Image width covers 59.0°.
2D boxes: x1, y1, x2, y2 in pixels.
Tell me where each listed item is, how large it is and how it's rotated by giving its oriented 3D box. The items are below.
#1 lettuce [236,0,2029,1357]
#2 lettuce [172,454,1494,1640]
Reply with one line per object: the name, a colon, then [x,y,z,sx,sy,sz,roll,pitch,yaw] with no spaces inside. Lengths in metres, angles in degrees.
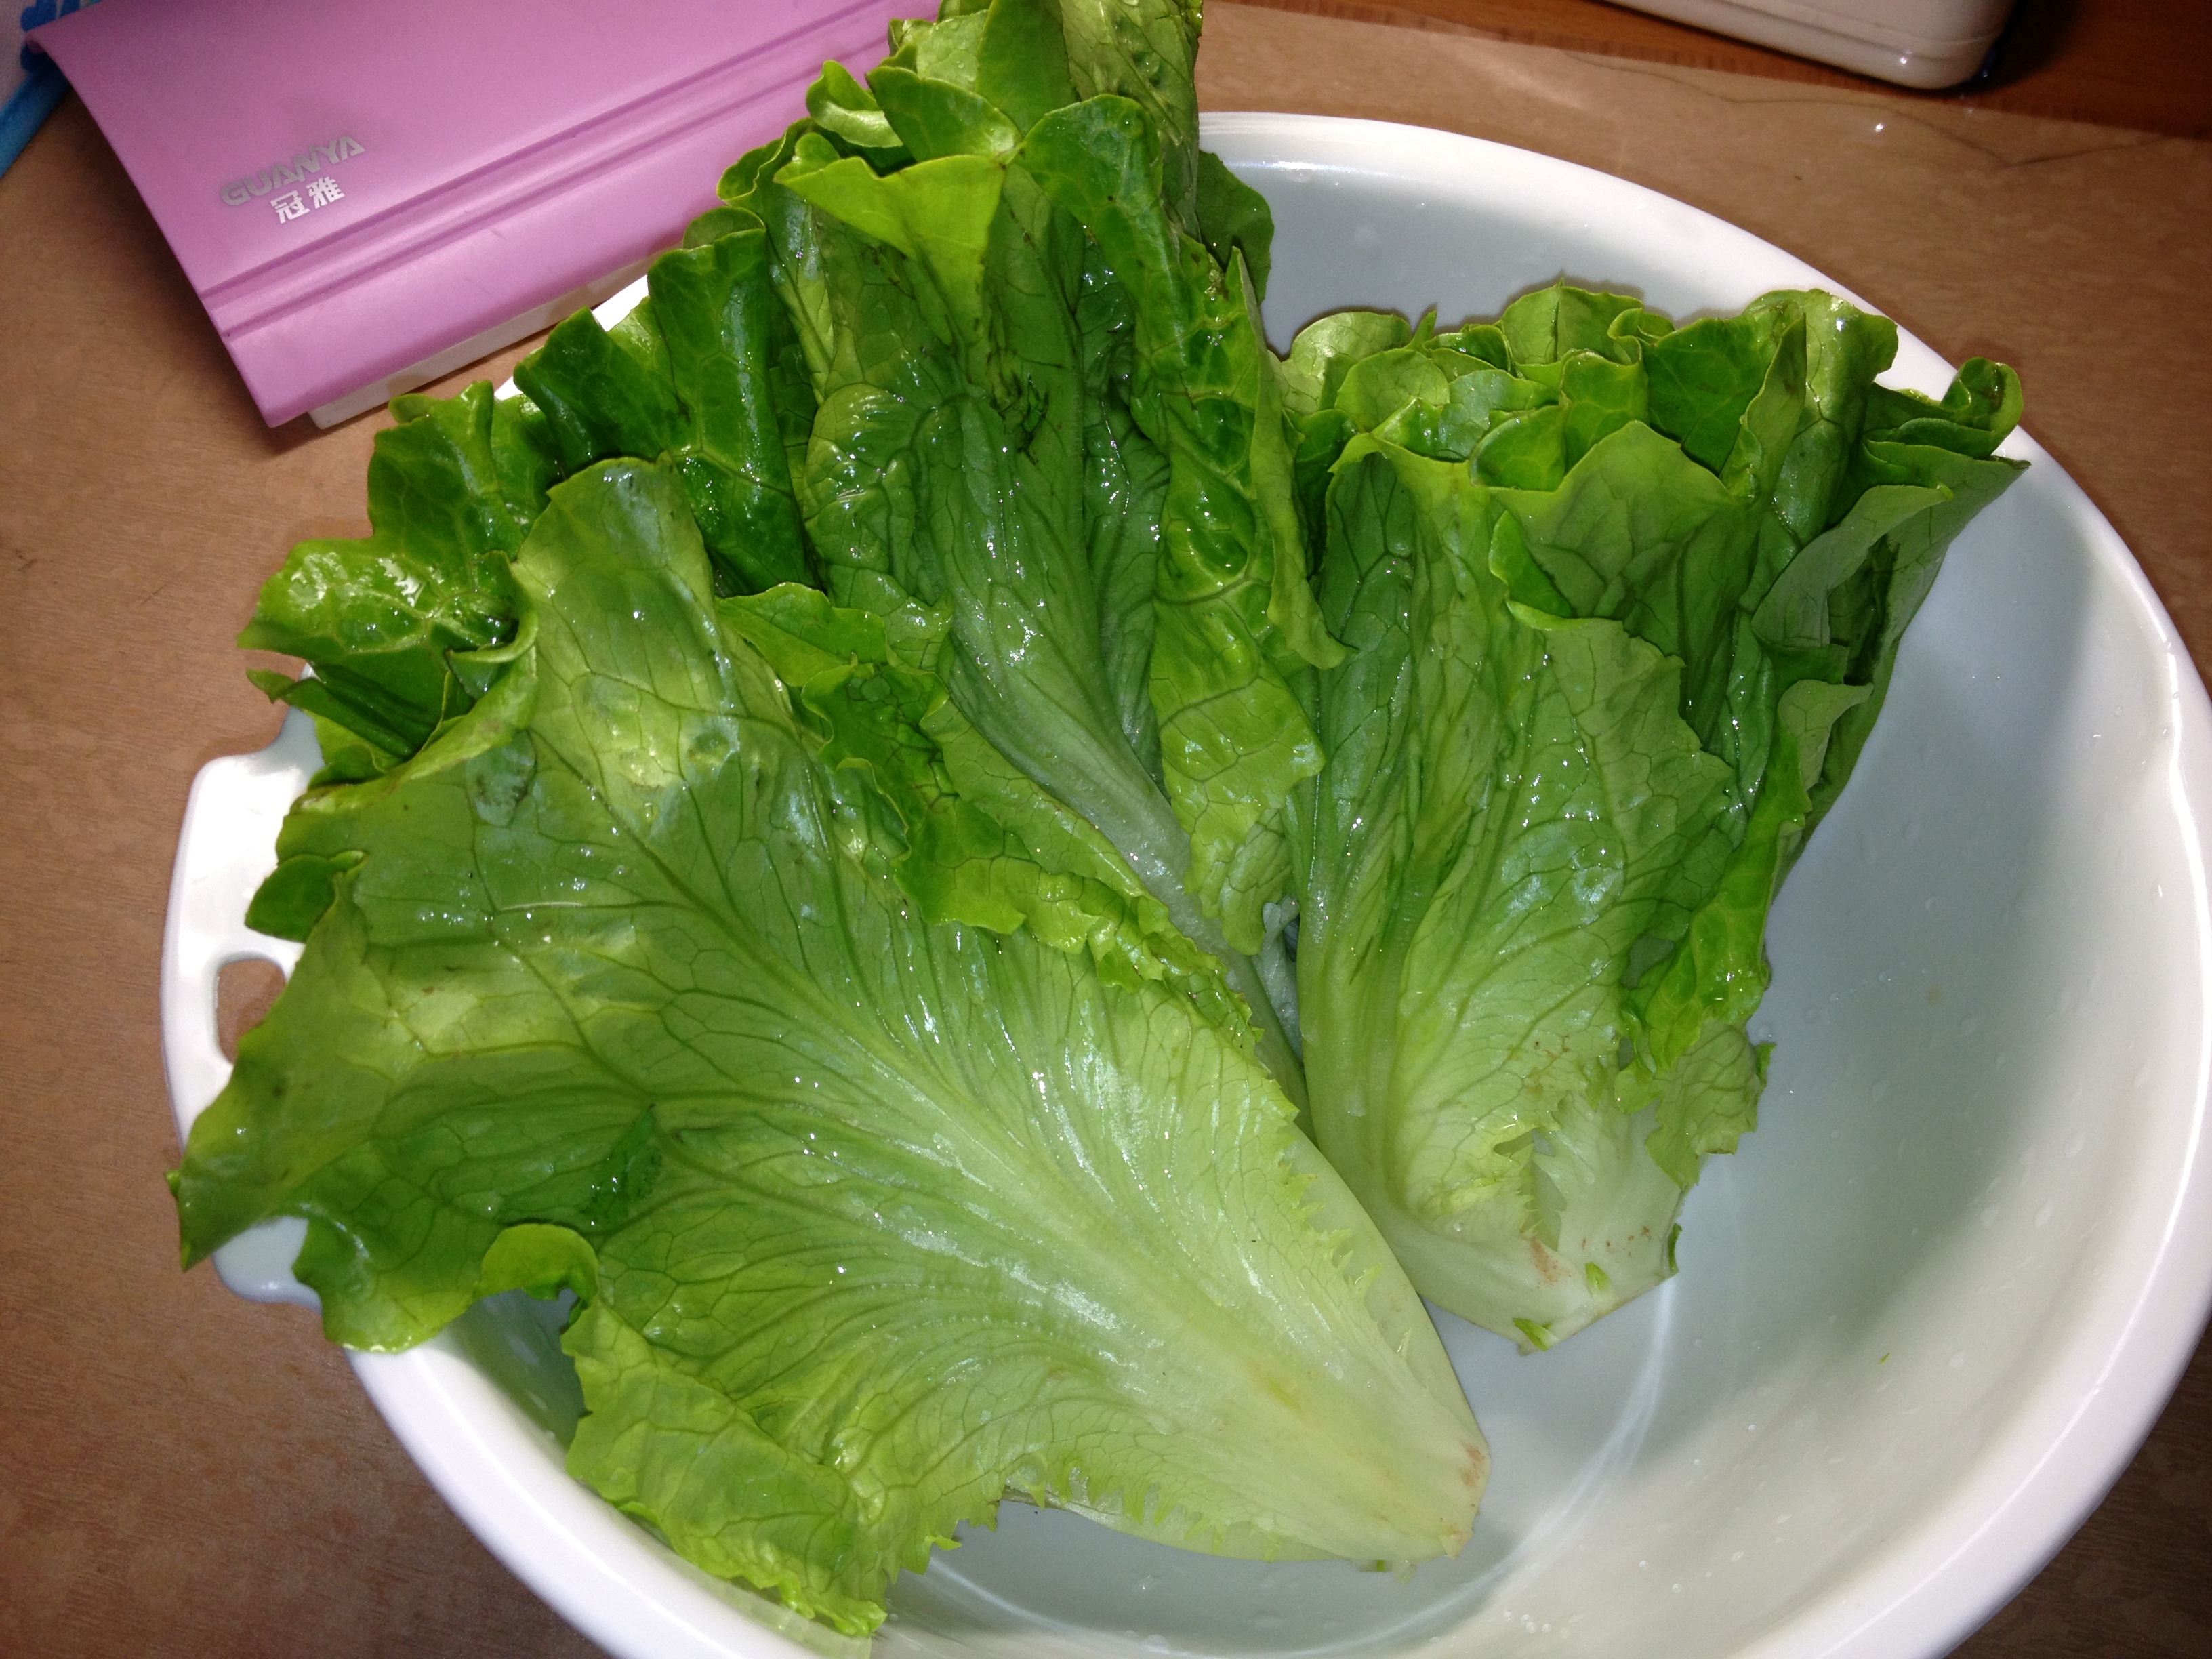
lettuce: [-0.026,0.022,1.005,0.651,0.320,0.791,1,65,10]
lettuce: [-0.127,0.140,0.959,0.653,0.192,0.457,18,38,22]
